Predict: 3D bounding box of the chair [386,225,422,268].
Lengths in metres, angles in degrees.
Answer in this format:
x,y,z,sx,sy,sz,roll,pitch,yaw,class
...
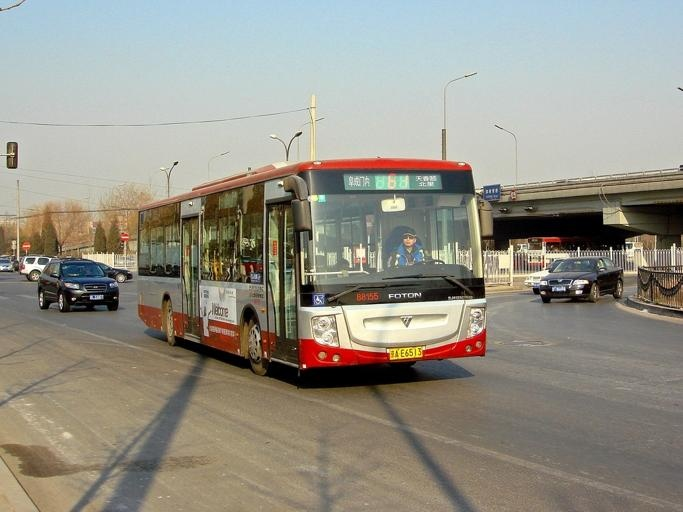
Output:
x,y,z,sx,sy,sz,roll,pitch,yaw,class
1.085,-0.059,9.913,0.503,0.421,0.744,-9,10,10,chair
